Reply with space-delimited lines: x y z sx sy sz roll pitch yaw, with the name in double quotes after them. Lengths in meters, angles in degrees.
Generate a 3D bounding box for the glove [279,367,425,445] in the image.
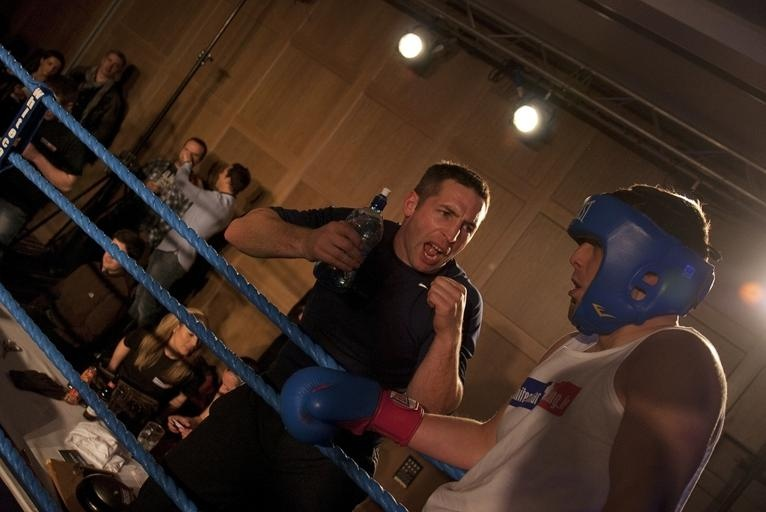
-0.196 0.868 3.418 0.681 0.422 0.347 10 -26 -8 "glove"
